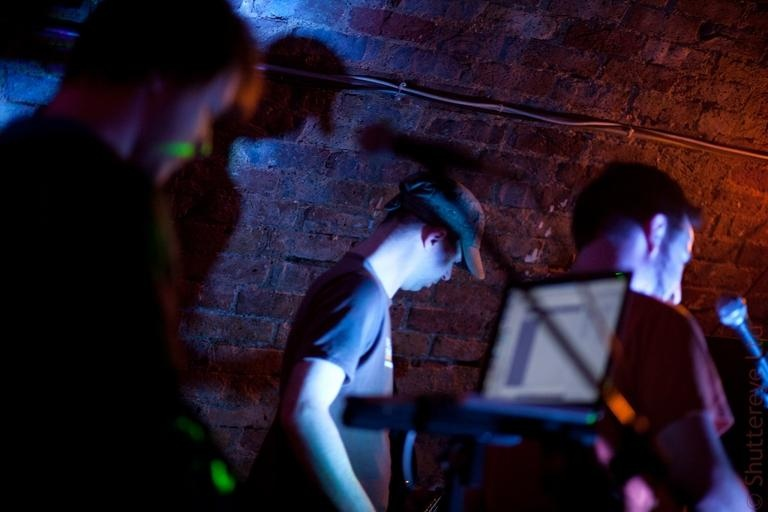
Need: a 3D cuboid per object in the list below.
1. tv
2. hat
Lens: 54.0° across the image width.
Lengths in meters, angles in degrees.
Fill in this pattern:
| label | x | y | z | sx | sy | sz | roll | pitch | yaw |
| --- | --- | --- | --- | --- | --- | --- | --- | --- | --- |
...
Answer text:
| label | x | y | z | sx | sy | sz | roll | pitch | yaw |
| --- | --- | --- | --- | --- | --- | --- | --- | --- | --- |
| tv | 0.462 | 0.266 | 2.481 | 0.530 | 0.489 | 0.613 | 11 | -13 | -36 |
| hat | 0.249 | -0.167 | 2.930 | 0.497 | 0.262 | 0.359 | 33 | 6 | -2 |
